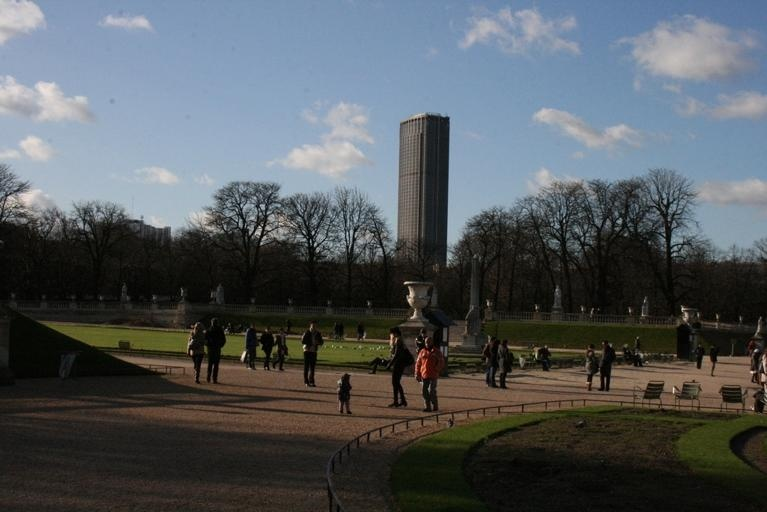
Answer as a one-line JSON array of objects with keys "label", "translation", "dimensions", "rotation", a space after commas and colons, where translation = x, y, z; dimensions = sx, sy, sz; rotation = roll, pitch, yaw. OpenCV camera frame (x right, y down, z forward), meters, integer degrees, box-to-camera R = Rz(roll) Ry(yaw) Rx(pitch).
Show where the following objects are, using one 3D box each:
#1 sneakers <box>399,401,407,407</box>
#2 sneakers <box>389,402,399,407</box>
[{"label": "sneakers", "translation": [0.715, 5.490, 36.330], "dimensions": [0.311, 0.200, 0.333], "rotation": [1, 8, -5]}, {"label": "sneakers", "translation": [0.343, 5.534, 36.185], "dimensions": [0.143, 0.178, 0.433], "rotation": [2, 2, -44]}]
